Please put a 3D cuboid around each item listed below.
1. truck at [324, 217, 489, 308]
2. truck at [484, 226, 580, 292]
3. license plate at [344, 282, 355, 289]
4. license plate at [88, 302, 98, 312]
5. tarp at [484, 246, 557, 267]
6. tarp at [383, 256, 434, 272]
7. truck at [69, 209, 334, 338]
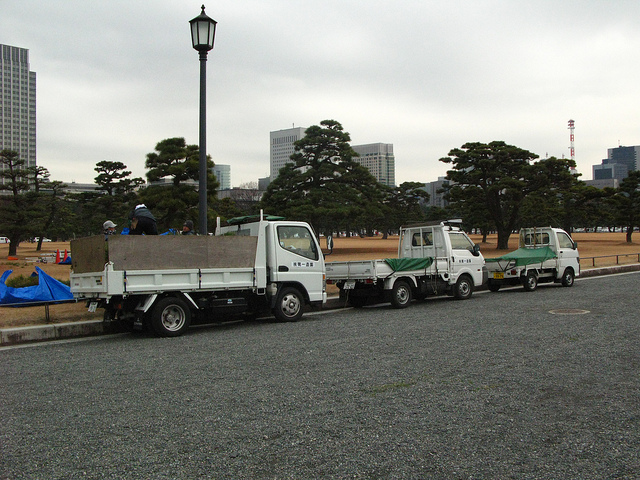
[{"bbox_3d":[2.400,0.583,17.340,4.571,2.371,2.380,-1,0,-36],"label":"truck"},{"bbox_3d":[7.330,0.621,21.113,3.846,2.234,1.985,-3,3,-34],"label":"truck"},{"bbox_3d":[0.783,1.201,15.630,0.184,0.180,0.051,8,41,12],"label":"license plate"},{"bbox_3d":[-4.469,1.309,11.487,0.280,0.193,0.142,4,6,43],"label":"license plate"},{"bbox_3d":[7.149,0.545,20.104,1.779,0.437,1.087,-6,7,-34],"label":"tarp"},{"bbox_3d":[2.479,0.645,16.109,1.886,0.378,0.179,-5,6,-41],"label":"tarp"},{"bbox_3d":[-2.599,0.756,13.334,5.403,2.627,2.745,-2,1,-40],"label":"truck"}]
